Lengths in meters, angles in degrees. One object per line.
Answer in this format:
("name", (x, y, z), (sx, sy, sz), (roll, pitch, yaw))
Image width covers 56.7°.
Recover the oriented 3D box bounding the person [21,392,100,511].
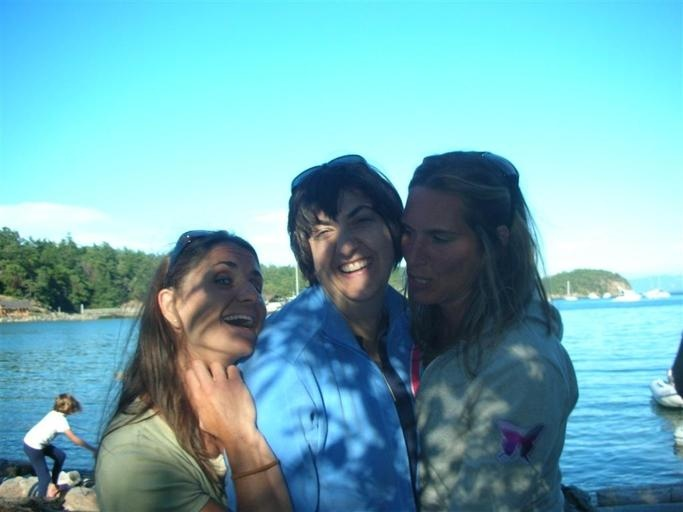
("person", (-6.167, 4.014, 13.468), (1.065, 2.137, 1.383), (2, -7, -33))
